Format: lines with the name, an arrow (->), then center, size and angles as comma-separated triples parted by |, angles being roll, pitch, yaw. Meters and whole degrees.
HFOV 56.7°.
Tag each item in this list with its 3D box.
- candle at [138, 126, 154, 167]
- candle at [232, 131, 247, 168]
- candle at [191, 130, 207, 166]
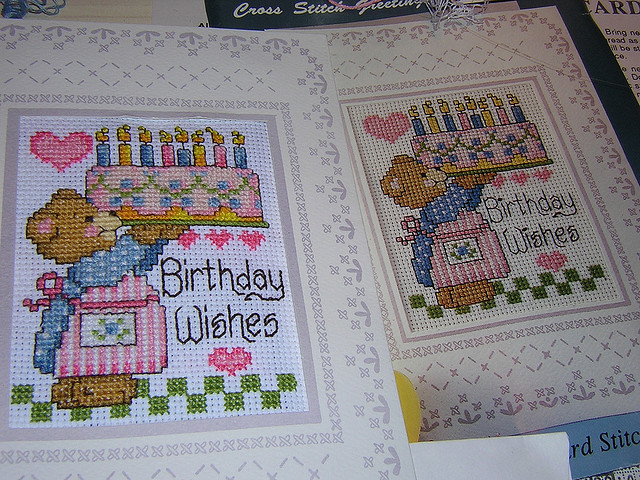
candle -> -0.824, -0.442, 2.809 | 0.059, 0.156, 0.149 | -5, 28, -11
candle -> -0.395, -0.444, 2.913 | 0.065, 0.143, 0.143 | -3, 28, -7
candle -> -0.588, -0.444, 2.866 | 0.058, 0.137, 0.140 | -6, 28, -12
